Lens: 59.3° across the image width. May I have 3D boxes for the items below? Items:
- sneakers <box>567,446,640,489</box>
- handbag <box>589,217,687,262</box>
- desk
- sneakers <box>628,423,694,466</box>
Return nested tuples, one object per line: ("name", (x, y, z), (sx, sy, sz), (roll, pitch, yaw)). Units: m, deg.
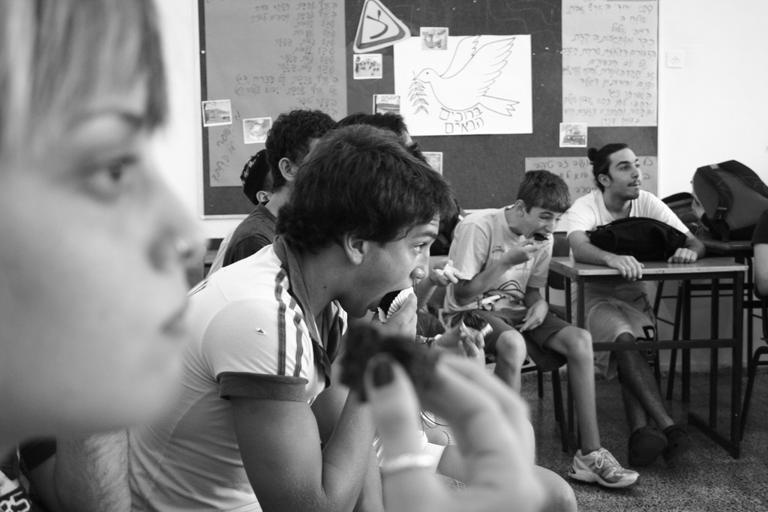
("sneakers", (0.746, 0.700, 2.317), (0.249, 0.136, 0.103), (3, -1, 23))
("handbag", (1.048, -0.075, 2.748), (0.267, 0.114, 0.195), (-3, 14, -19))
("desk", (1.063, 0.363, 2.793), (0.705, 0.783, 0.742), (-1, 9, -3))
("sneakers", (0.956, 0.656, 2.347), (0.136, 0.093, 0.227), (4, -26, -17))
